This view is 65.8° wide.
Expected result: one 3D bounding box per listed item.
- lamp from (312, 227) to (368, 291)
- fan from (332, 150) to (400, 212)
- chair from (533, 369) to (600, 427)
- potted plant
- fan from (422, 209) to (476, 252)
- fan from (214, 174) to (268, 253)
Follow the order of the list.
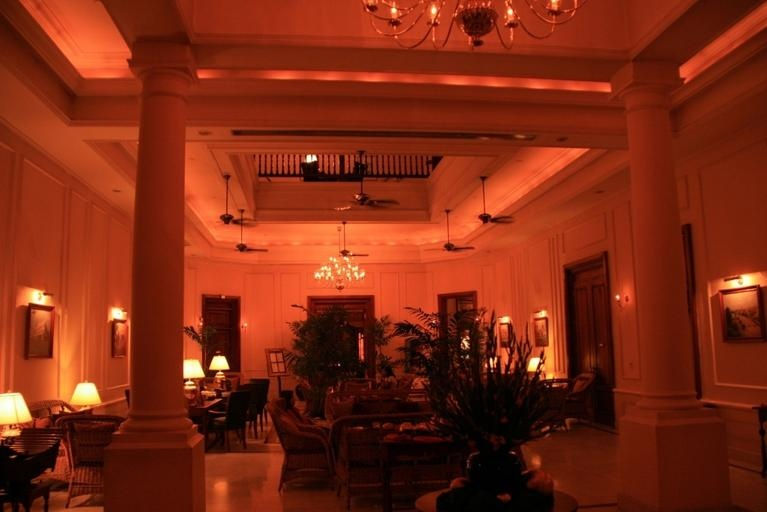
[{"bbox_3d":[-1.129,0.143,18.789,1.985,2.499,2.076,4,-12,-8],"label":"lamp"},{"bbox_3d":[-0.443,-1.745,12.984,1.472,1.281,1.309,5,8,34],"label":"fan"},{"bbox_3d":[3.872,2.965,12.333,1.065,0.925,0.842,-5,-3,-8],"label":"chair"},{"bbox_3d":[0.834,1.168,5.019,1.288,1.504,1.036,-7,-11,15],"label":"potted plant"},{"bbox_3d":[1.848,-0.772,16.988,1.044,1.130,1.016,-1,2,2],"label":"fan"},{"bbox_3d":[-3.791,-0.872,14.669,1.654,1.843,1.551,0,-7,4],"label":"fan"}]
